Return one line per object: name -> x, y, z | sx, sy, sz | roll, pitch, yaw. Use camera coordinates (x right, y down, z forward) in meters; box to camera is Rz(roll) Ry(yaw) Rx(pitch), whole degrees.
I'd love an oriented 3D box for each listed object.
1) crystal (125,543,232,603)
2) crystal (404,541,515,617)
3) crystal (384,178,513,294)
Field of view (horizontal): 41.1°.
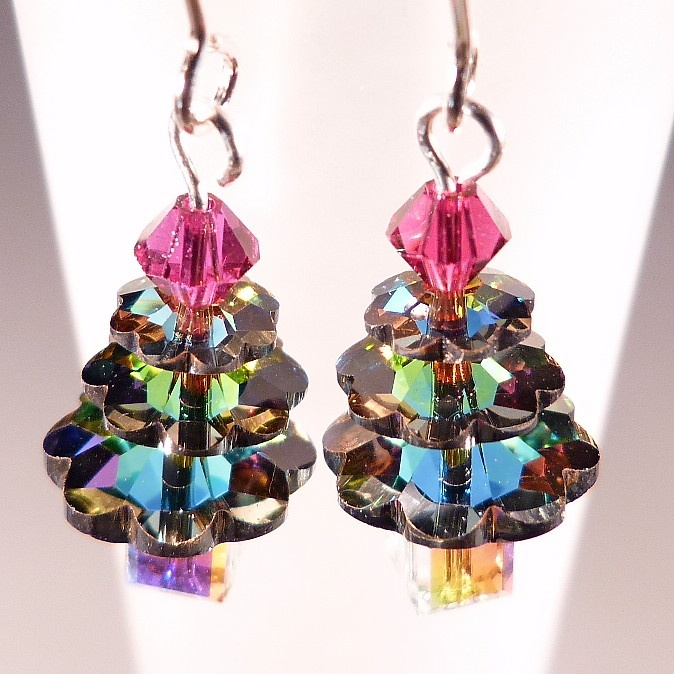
crystal -> -0.100, 0.155, 0.589 | 0.049, 0.046, 0.030 | 2, -4, 4
crystal -> 0.081, 0.157, 0.593 | 0.065, 0.060, 0.062 | 1, 3, 2
crystal -> 0.069, -0.059, 0.517 | 0.065, 0.049, 0.063 | -2, 48, 1
